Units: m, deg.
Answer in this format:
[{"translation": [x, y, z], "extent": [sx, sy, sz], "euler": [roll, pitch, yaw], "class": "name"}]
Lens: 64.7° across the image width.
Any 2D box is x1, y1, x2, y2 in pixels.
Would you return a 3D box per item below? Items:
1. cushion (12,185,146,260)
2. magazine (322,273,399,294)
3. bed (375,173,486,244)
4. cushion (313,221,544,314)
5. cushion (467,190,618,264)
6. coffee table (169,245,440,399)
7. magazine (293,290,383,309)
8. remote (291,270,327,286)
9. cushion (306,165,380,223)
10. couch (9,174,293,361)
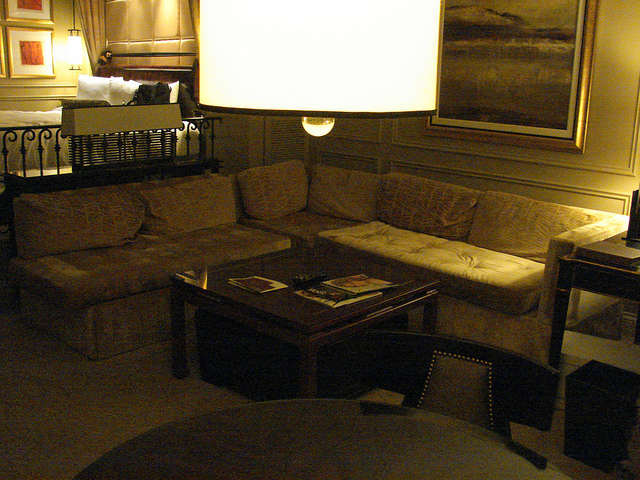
[{"translation": [-1.509, -0.175, 3.475], "extent": [0.866, 0.480, 0.220], "euler": [-4, -34, -40], "class": "cushion"}, {"translation": [0.219, 0.248, 2.867], "extent": [0.351, 0.031, 0.303], "euler": [-8, 13, -42], "class": "magazine"}, {"translation": [0.833, -0.279, 4.165], "extent": [0.747, 0.483, 1.224], "euler": [-13, 19, -43], "class": "bed"}, {"translation": [0.914, 0.142, 3.632], "extent": [1.272, 0.146, 0.577], "euler": [20, 34, 33], "class": "cushion"}, {"translation": [1.453, -0.120, 3.734], "extent": [0.890, 0.429, 1.440], "euler": [-8, 14, -39], "class": "cushion"}, {"translation": [-0.158, 0.495, 2.986], "extent": [1.148, 0.688, 1.036], "euler": [12, 10, 35], "class": "coffee table"}, {"translation": [0.128, 0.314, 2.638], "extent": [0.183, 0.005, 0.178], "euler": [-7, 11, -32], "class": "magazine"}, {"translation": [-0.063, 0.215, 2.913], "extent": [0.193, 0.032, 0.071], "euler": [-6, 12, -33], "class": "remote"}, {"translation": [0.230, -0.415, 4.567], "extent": [0.969, 0.443, 0.214], "euler": [9, 6, 30], "class": "cushion"}, {"translation": [-1.265, 0.118, 3.606], "extent": [1.041, 1.079, 1.502], "euler": [13, 11, 31], "class": "couch"}]
